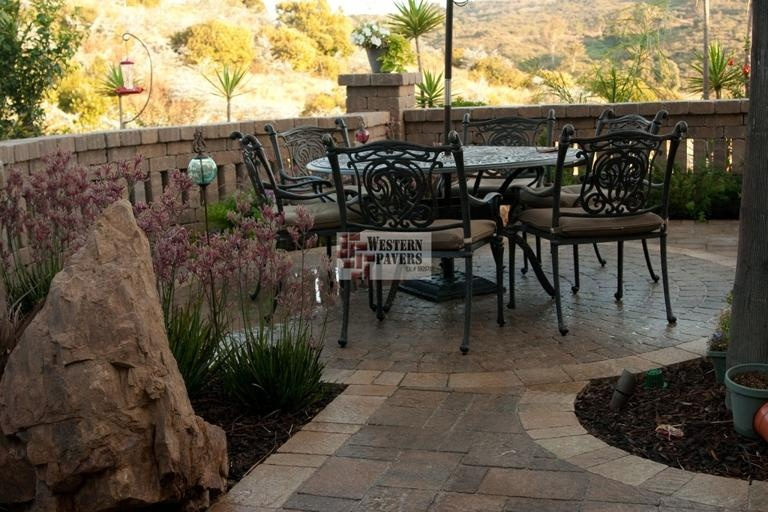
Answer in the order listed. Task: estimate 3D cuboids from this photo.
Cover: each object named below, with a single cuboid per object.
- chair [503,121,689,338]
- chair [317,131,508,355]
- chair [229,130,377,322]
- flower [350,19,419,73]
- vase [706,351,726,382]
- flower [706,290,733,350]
[{"bbox_3d":[1.526,-0.253,4.375,1.178,1.390,1.315,2,12,24],"label":"chair"},{"bbox_3d":[0.652,-0.122,4.254,1.300,1.465,1.289,-10,12,-35],"label":"chair"},{"bbox_3d":[-0.602,-0.330,4.923,1.245,1.152,1.168,-2,1,-34],"label":"chair"},{"bbox_3d":[0.019,-2.957,8.613,0.949,0.572,0.865,1,12,-18],"label":"flower"},{"bbox_3d":[1.731,0.567,3.117,0.080,0.189,0.222,1,12,23],"label":"vase"},{"bbox_3d":[2.069,0.402,3.684,0.152,0.142,0.391,6,34,33],"label":"flower"}]
